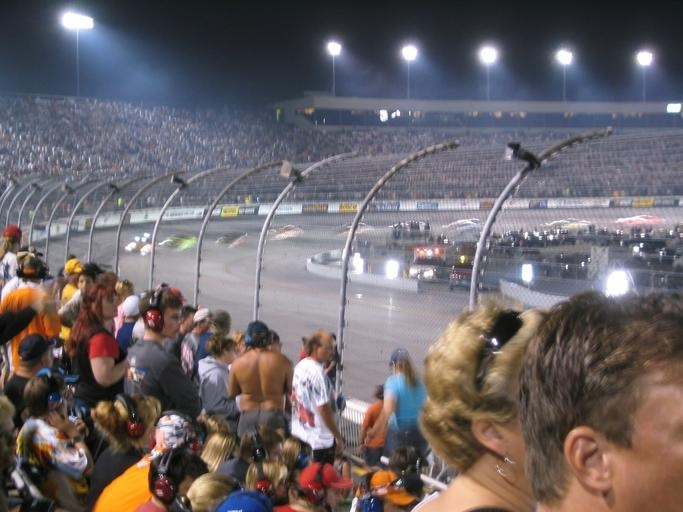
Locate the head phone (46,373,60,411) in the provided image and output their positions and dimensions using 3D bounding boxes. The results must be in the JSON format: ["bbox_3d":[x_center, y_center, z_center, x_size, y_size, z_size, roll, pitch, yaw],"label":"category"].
[{"bbox_3d":[-1.626,0.769,3.613,0.047,0.138,0.140,5,-38,-15],"label":"head phone"}]

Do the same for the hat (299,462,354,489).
[{"bbox_3d":[-0.082,1.213,3.534,0.262,0.117,0.171,9,-5,-24],"label":"hat"}]

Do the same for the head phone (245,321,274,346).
[{"bbox_3d":[-0.622,0.595,4.904,0.142,0.207,0.193,3,-31,3],"label":"head phone"}]

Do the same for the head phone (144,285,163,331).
[{"bbox_3d":[-1.358,0.389,4.648,0.106,0.305,0.306,6,-10,-13],"label":"head phone"}]

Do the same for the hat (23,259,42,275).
[{"bbox_3d":[-2.809,0.090,5.821,0.088,0.179,0.162,6,-1,-3],"label":"hat"}]

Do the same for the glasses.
[{"bbox_3d":[0.482,0.294,1.975,0.073,0.214,0.147,19,2,-34],"label":"glasses"}]

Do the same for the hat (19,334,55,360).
[{"bbox_3d":[-2.038,0.617,4.266,0.123,0.149,0.183,-5,-25,-20],"label":"hat"}]

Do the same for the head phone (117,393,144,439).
[{"bbox_3d":[-1.208,0.885,3.716,0.058,0.159,0.170,-21,-12,-12],"label":"head phone"}]

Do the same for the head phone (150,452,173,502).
[{"bbox_3d":[-0.878,1.056,3.146,0.120,0.190,0.288,4,3,-17],"label":"head phone"}]
